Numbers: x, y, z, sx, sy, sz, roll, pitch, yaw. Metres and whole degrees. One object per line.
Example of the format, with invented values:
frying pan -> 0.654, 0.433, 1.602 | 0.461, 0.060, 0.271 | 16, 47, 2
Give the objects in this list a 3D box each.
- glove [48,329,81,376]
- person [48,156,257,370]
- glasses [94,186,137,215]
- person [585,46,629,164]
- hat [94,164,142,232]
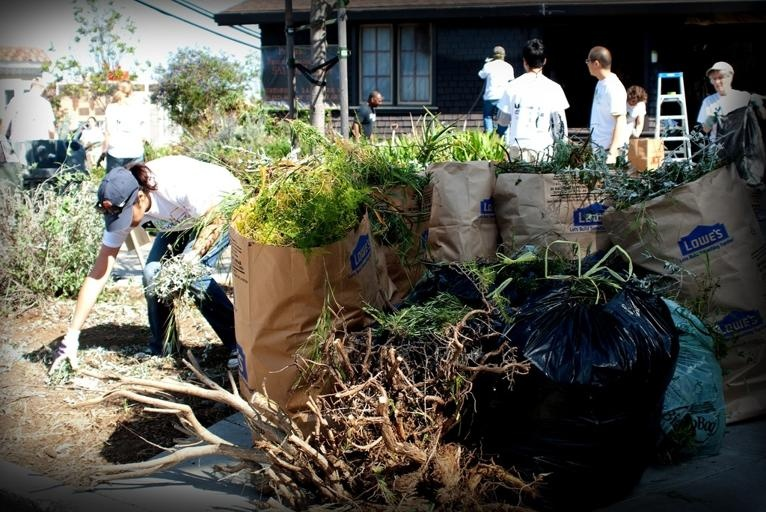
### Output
glove -> -2.253, 0.684, 4.536 | 0.294, 0.334, 0.150 | 3, 2, 40
person -> -1.805, 0.107, 4.949 | 0.918, 1.452, 1.437 | 14, 32, 21
glasses -> -1.821, -0.382, 4.354 | 0.116, 0.198, 0.096 | 28, -11, 36
person -> 2.102, -1.450, 5.969 | 0.348, 0.934, 0.408 | 3, 1, 32
hat -> -1.822, -0.384, 4.414 | 0.253, 0.432, 0.242 | -7, -21, 19
